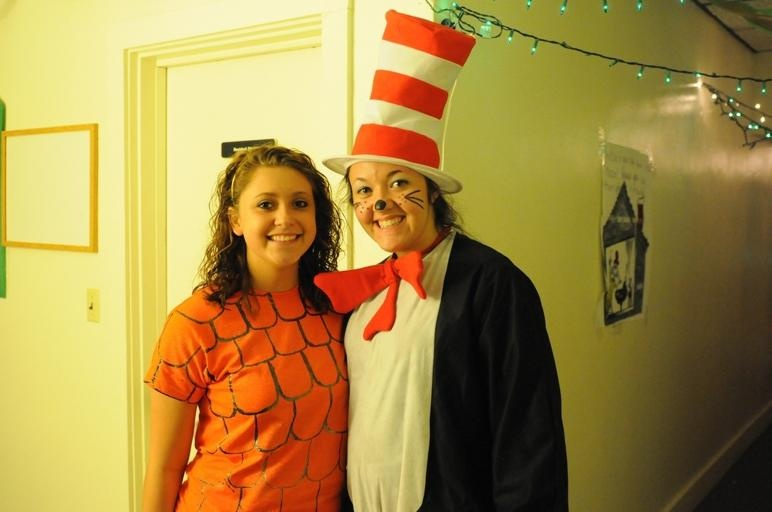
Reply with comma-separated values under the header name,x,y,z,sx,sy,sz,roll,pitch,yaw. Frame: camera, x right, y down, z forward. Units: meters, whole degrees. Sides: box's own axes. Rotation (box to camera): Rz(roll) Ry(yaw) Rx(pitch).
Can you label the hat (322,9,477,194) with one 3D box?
name,x,y,z,sx,sy,sz,roll,pitch,yaw
hat,0.094,-0.688,2.886,0.565,0.643,0.574,16,1,-12
